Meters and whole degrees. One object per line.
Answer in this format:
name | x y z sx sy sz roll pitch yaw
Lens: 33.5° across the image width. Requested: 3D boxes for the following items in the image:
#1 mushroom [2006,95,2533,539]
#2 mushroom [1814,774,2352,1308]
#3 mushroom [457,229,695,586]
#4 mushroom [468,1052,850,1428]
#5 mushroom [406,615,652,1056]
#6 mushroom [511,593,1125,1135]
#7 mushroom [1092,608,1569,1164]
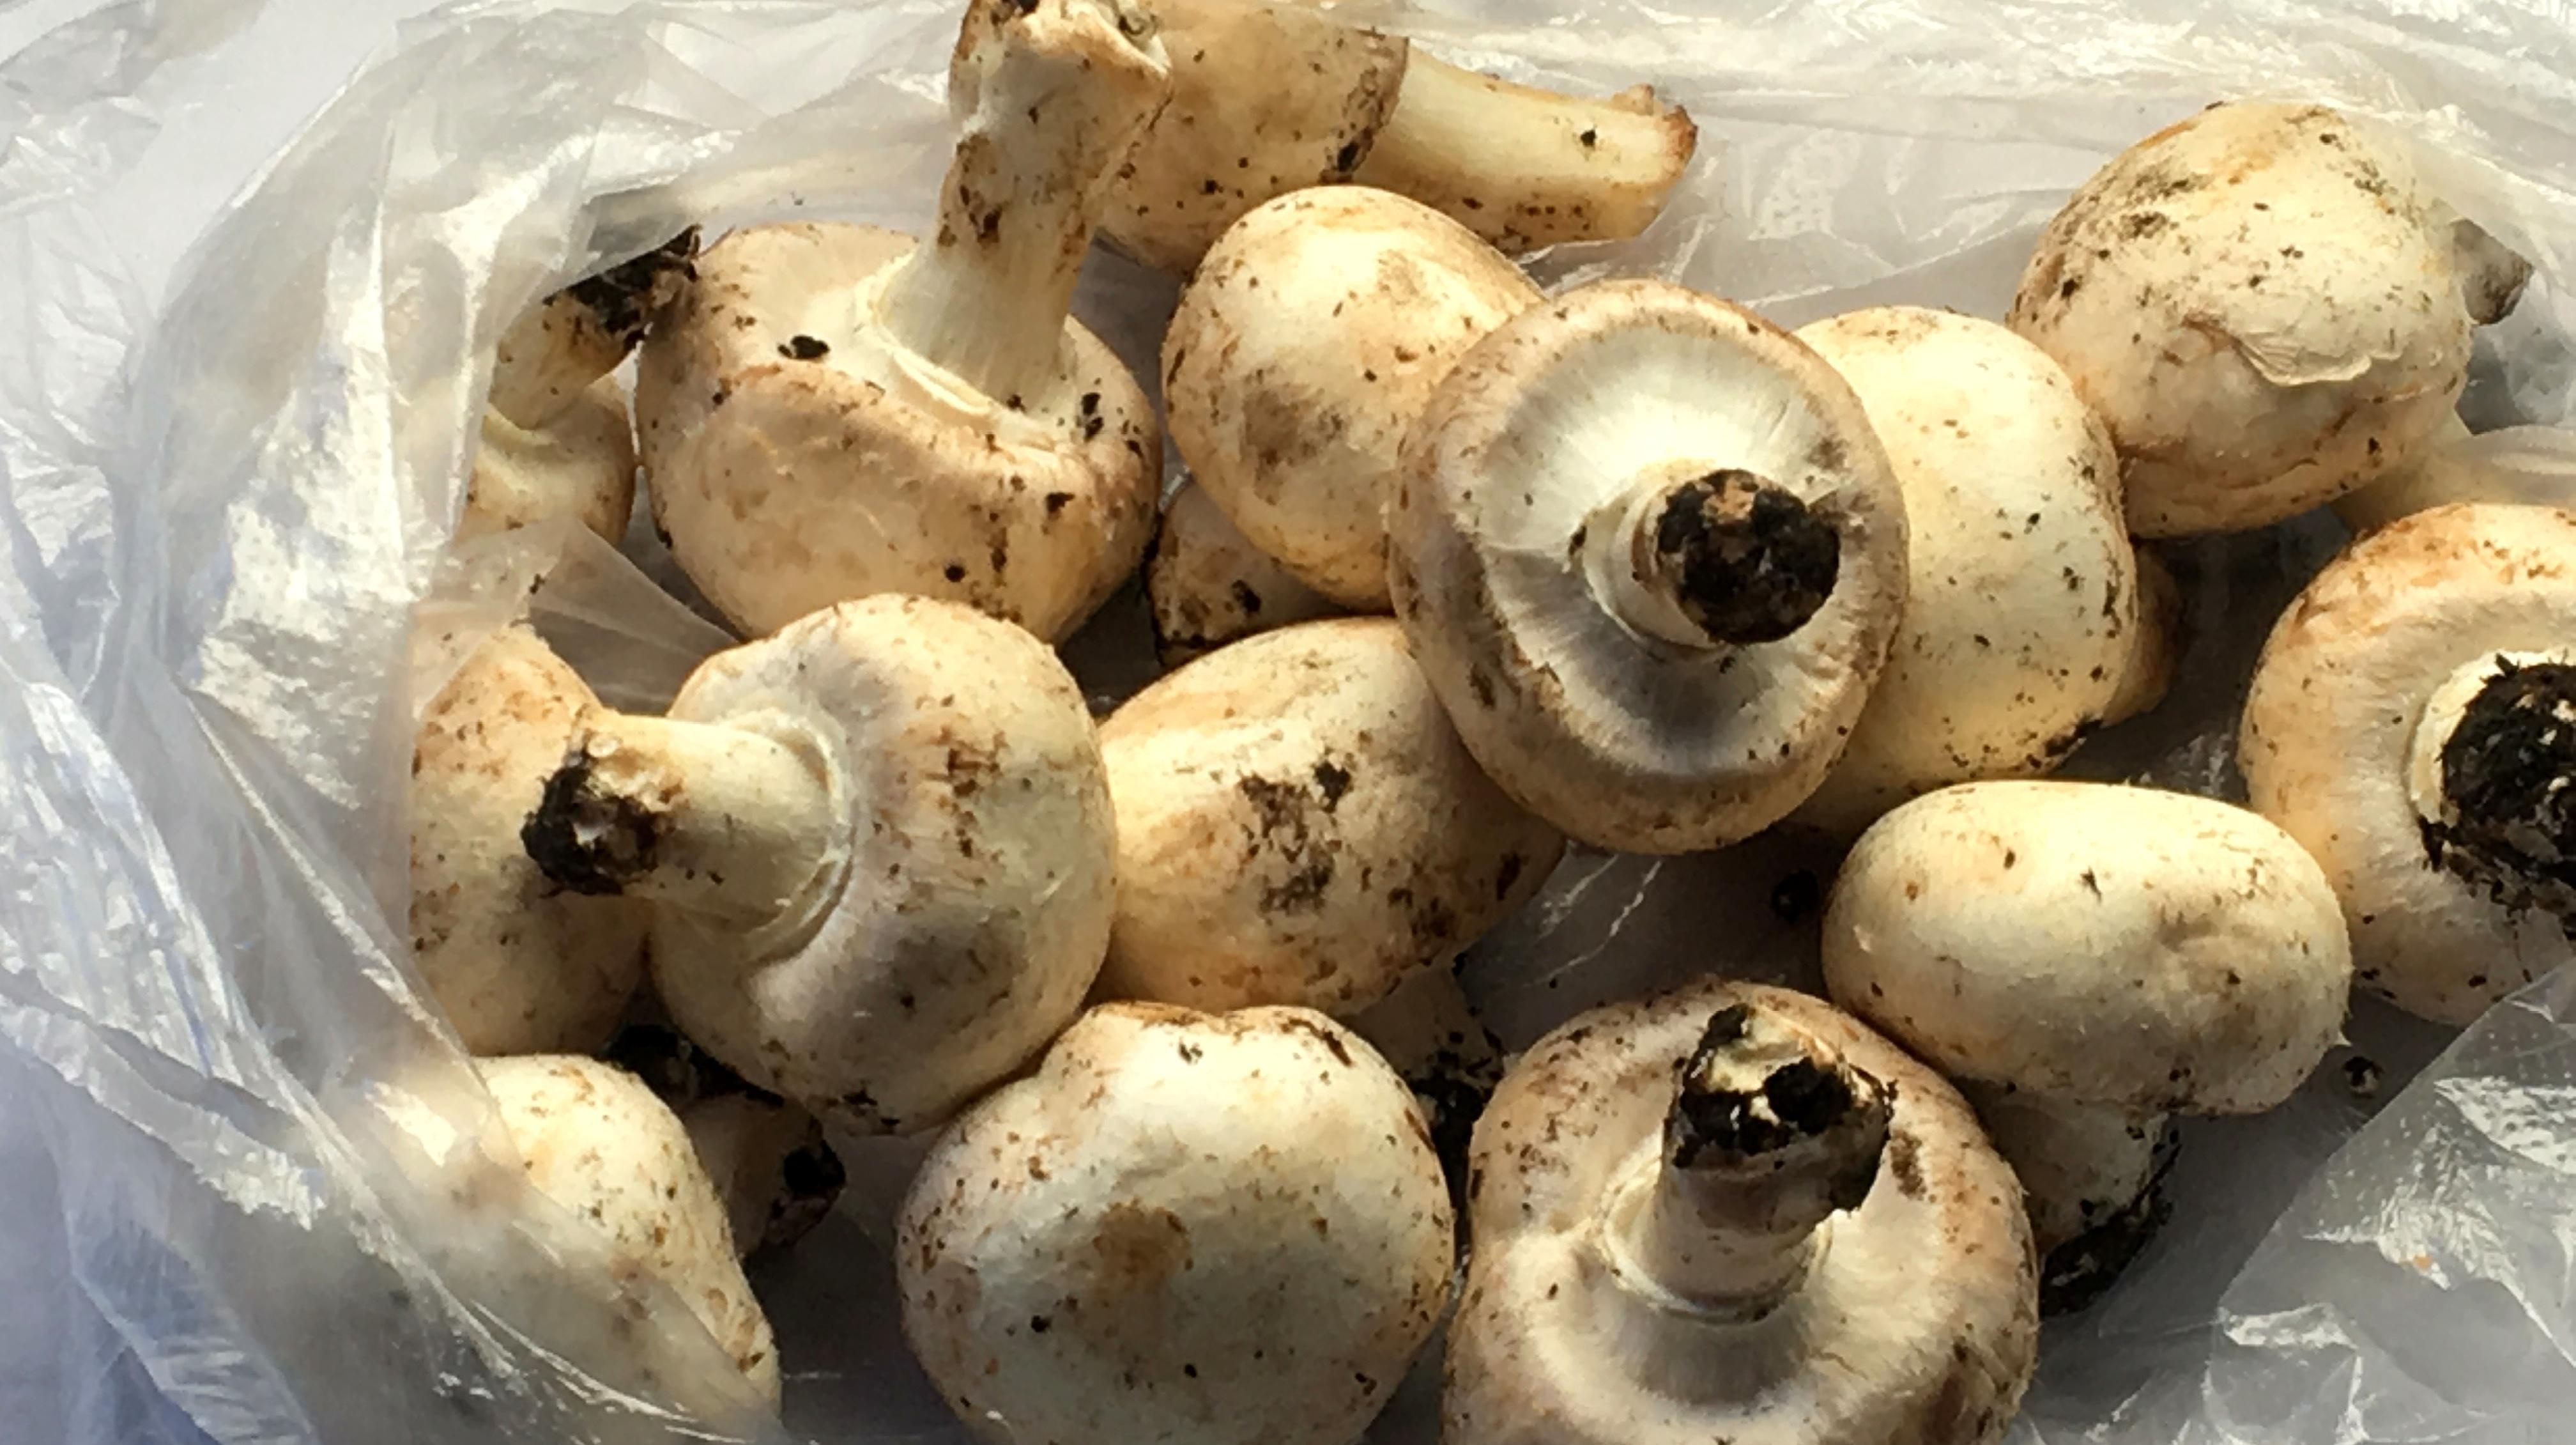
mushroom | 0.616 -0.308 2.642 0.302 0.276 0.183 -1 -25 43
mushroom | 0.450 0.173 2.559 0.265 0.289 0.255 2 7 -28
mushroom | -0.431 -0.195 2.572 0.109 0.168 0.112 27 23 -40
mushroom | -0.348 0.292 2.478 0.075 0.209 0.158 -38 15 11
mushroom | -0.454 0.072 2.538 0.105 0.220 0.180 -6 1 7
mushroom | -0.268 0.082 2.475 0.330 0.264 0.152 2 27 0
mushroom | 0.106 0.096 2.600 0.288 0.227 0.305 -16 4 -4
